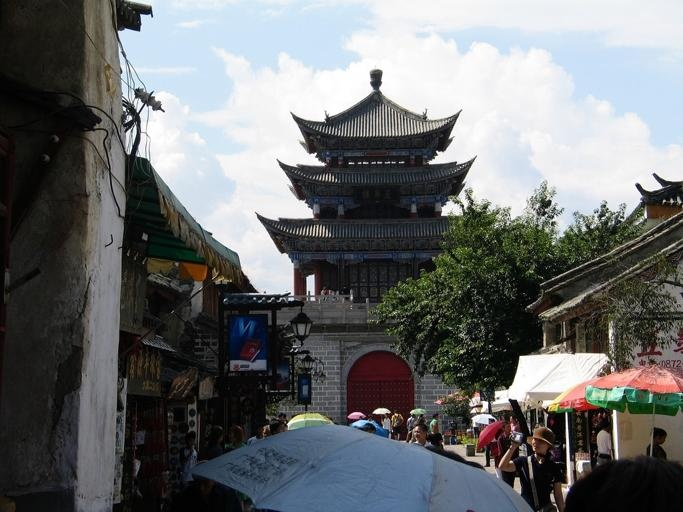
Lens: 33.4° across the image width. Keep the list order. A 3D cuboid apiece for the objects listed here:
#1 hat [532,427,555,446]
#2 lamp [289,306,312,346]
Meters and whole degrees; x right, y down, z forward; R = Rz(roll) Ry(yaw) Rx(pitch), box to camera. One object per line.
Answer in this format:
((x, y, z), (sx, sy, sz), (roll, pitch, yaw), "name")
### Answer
((2.574, 2.291, 14.413), (0.246, 0.131, 0.256), (26, -4, -9), "hat")
((-0.763, 1.327, 21.267), (0.408, 0.695, 0.485), (1, 6, 1), "lamp")
